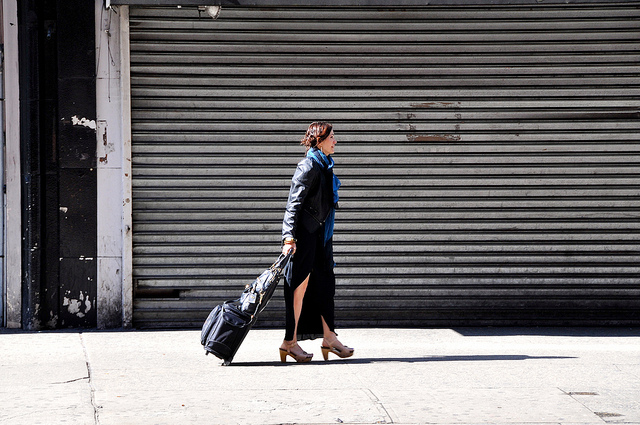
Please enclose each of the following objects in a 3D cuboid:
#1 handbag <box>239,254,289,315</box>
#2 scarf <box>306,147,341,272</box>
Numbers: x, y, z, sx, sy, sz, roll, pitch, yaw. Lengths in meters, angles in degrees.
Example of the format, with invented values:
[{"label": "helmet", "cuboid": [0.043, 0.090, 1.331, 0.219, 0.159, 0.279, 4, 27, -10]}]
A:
[{"label": "handbag", "cuboid": [-0.605, 0.770, 12.394, 0.496, 0.651, 0.562, 5, 5, 14]}, {"label": "scarf", "cuboid": [0.038, -0.034, 12.569, 0.372, 1.342, 0.538, 0, 16, -1]}]
